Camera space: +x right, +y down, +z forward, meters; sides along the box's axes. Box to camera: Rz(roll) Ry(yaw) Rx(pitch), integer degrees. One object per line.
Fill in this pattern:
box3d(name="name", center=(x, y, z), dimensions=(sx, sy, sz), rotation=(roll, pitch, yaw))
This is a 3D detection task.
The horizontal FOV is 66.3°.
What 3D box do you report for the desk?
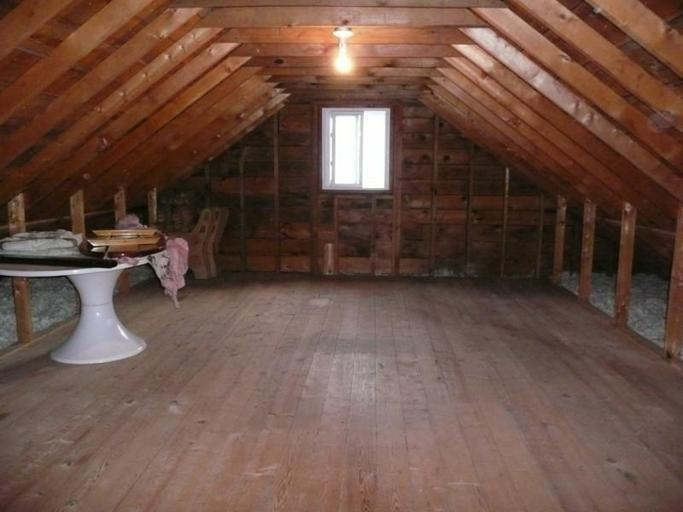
box3d(name="desk", center=(-1.684, 0.347, 3.439), dimensions=(0.890, 0.516, 0.848), rotation=(0, 2, -33))
